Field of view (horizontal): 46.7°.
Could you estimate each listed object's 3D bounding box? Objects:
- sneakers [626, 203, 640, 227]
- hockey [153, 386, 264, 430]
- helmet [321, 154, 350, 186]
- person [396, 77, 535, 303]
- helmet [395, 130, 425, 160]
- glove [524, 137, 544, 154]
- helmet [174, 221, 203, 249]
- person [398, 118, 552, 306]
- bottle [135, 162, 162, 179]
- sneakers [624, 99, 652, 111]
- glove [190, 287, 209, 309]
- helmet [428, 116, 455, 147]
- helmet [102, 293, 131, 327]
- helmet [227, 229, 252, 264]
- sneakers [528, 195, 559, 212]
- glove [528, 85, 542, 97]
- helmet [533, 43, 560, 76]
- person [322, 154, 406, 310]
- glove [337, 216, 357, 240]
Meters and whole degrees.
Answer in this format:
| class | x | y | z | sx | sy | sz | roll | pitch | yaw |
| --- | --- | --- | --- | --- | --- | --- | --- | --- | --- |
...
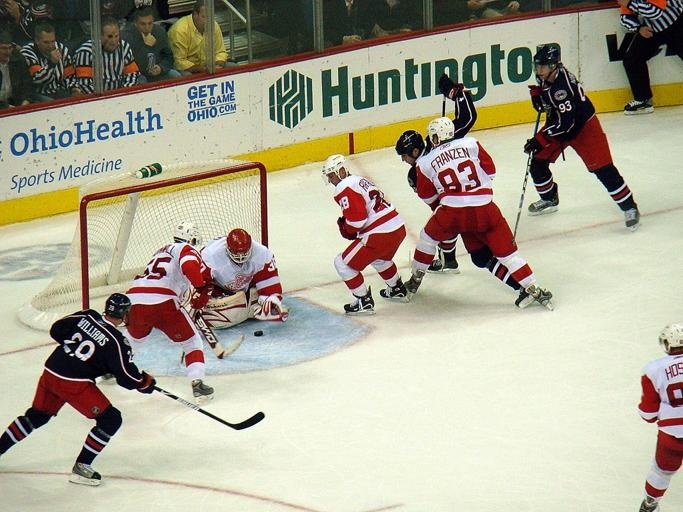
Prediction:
| class | x | y | z | sx | sy | sz | roll | pitch | yaw |
| --- | --- | --- | --- | --- | --- | --- | --- | --- | --- |
| sneakers | 2.582 | -0.373 | 7.014 | 0.080 | 0.099 | 0.242 | -25 | 19 | 38 |
| hockey | -0.829 | 0.952 | 4.902 | 0.545 | 0.042 | 0.166 | 19 | 26 | 17 |
| helmet | -0.048 | -0.654 | 5.967 | 0.229 | 0.206 | 0.184 | -13 | 17 | 8 |
| person | 1.006 | -0.479 | 6.414 | 0.878 | 1.689 | 1.308 | -23 | 31 | -32 |
| helmet | 0.531 | -0.902 | 6.289 | 0.221 | 0.205 | 0.173 | -19 | 37 | 11 |
| glove | 1.739 | -0.999 | 7.195 | 0.127 | 0.162 | 0.061 | 12 | 18 | -1 |
| helmet | -1.020 | -0.146 | 5.272 | 0.143 | 0.161 | 0.184 | 14 | 13 | 29 |
| person | 1.100 | -0.353 | 6.079 | 0.796 | 1.308 | 1.589 | -15 | 22 | -36 |
| bottle | -1.483 | -0.661 | 6.117 | 0.292 | 0.091 | 0.095 | -6 | 40 | -22 |
| sneakers | 3.633 | -1.864 | 9.753 | 0.330 | 0.202 | 0.133 | 3 | 18 | -1 |
| glove | -0.961 | 0.280 | 5.298 | 0.163 | 0.064 | 0.123 | -20 | 31 | 48 |
| helmet | 0.759 | -0.963 | 6.108 | 0.194 | 0.216 | 0.234 | -29 | 32 | -30 |
| helmet | -1.256 | 0.297 | 4.477 | 0.141 | 0.182 | 0.181 | 17 | 9 | 10 |
| helmet | -0.717 | -0.061 | 5.477 | 0.182 | 0.223 | 0.188 | -6 | -24 | -11 |
| sneakers | 1.944 | -0.509 | 7.608 | 0.270 | 0.168 | 0.124 | 0 | 28 | 4 |
| glove | 1.753 | -1.510 | 7.160 | 0.131 | 0.112 | 0.120 | 1 | 14 | 9 |
| helmet | 1.794 | -1.708 | 6.891 | 0.219 | 0.256 | 0.156 | -6 | 19 | 11 |
| person | 0.189 | -0.183 | 6.003 | 0.568 | 1.220 | 0.352 | -11 | 19 | -3 |
| glove | 0.034 | -0.199 | 5.926 | 0.132 | 0.165 | 0.150 | -13 | 29 | -2 |
